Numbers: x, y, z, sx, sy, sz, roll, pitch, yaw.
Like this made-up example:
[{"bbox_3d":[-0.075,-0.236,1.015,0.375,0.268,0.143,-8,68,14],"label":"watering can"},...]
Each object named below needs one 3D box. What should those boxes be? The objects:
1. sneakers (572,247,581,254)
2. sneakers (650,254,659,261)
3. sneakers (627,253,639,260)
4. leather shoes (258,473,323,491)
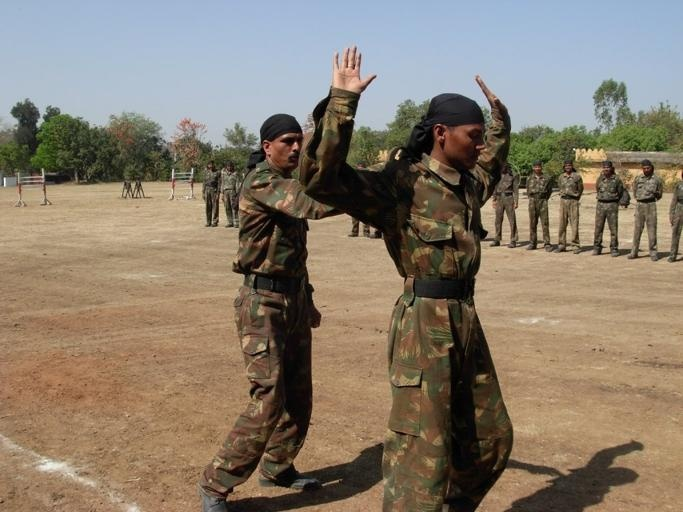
[{"bbox_3d":[6.308,-0.162,15.759,0.196,0.183,0.176,0,1,3],"label":"sneakers"},{"bbox_3d":[7.686,0.020,14.461,0.173,0.210,0.146,1,-4,-8],"label":"sneakers"},{"bbox_3d":[7.281,0.002,14.735,0.126,0.134,0.345,1,0,37],"label":"sneakers"},{"bbox_3d":[-0.388,1.643,4.391,0.437,0.163,0.154,0,1,0],"label":"leather shoes"}]
